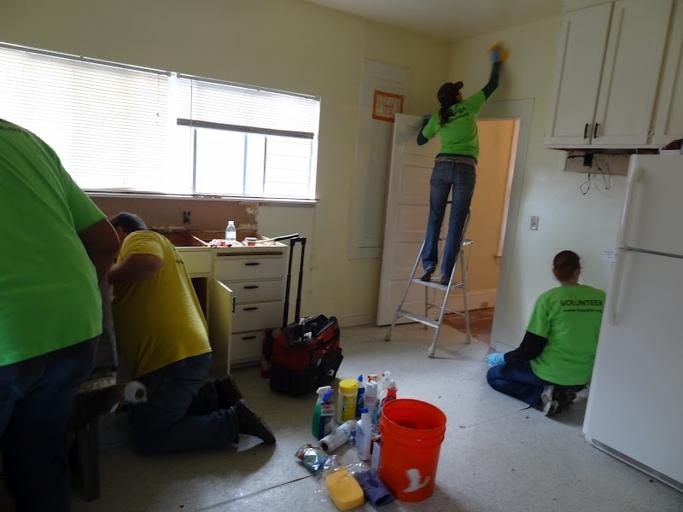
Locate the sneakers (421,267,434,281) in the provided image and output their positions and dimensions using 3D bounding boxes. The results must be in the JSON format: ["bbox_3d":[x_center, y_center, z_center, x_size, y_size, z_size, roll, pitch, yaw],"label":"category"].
[{"bbox_3d":[0.826,0.178,4.849,0.066,0.078,0.184,3,-21,-4],"label":"sneakers"}]

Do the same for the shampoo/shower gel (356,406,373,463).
[{"bbox_3d":[0.134,1.086,3.076,0.099,0.289,0.130,2,12,2],"label":"shampoo/shower gel"}]

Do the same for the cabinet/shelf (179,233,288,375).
[{"bbox_3d":[-0.858,0.358,4.242,0.894,0.877,0.907,-1,2,-33],"label":"cabinet/shelf"}]

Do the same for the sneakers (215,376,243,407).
[{"bbox_3d":[-0.741,0.876,3.343,0.112,0.294,0.115,-21,-13,18],"label":"sneakers"}]

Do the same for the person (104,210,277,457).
[{"bbox_3d":[-1.091,0.420,4.140,1.137,1.004,1.139,1,10,-20],"label":"person"}]

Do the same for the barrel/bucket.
[{"bbox_3d":[0.362,1.065,2.999,0.473,0.530,0.463,1,17,0],"label":"barrel/bucket"}]

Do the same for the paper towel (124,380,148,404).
[{"bbox_3d":[-1.173,0.773,2.835,0.036,0.144,0.153,8,4,39],"label":"paper towel"}]

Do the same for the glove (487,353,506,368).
[{"bbox_3d":[1.257,0.835,4.109,0.137,0.065,0.176,0,0,-30],"label":"glove"}]

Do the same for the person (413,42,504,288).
[{"bbox_3d":[1.088,-0.848,4.723,0.678,2.187,0.690,1,12,-3],"label":"person"}]

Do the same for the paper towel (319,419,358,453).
[{"bbox_3d":[-0.022,1.129,3.165,0.093,0.134,0.267,11,14,37],"label":"paper towel"}]

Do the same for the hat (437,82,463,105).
[{"bbox_3d":[0.982,-1.489,4.603,0.187,0.208,0.191,1,12,-3],"label":"hat"}]
